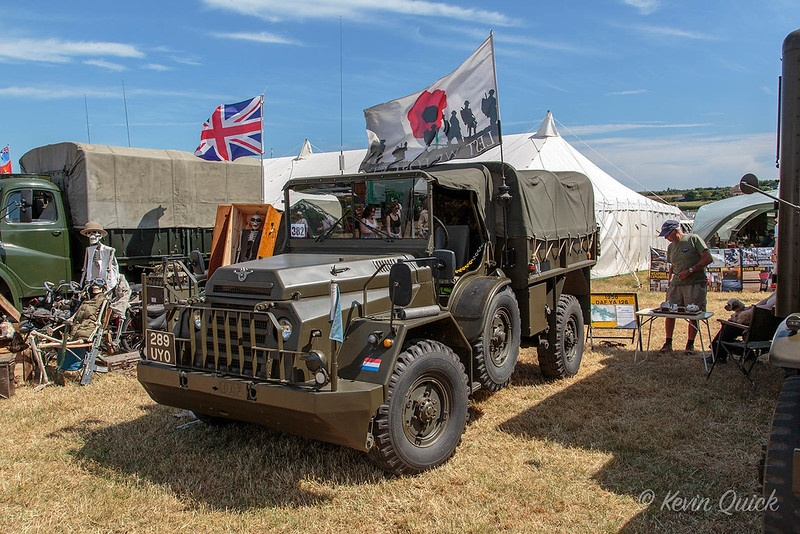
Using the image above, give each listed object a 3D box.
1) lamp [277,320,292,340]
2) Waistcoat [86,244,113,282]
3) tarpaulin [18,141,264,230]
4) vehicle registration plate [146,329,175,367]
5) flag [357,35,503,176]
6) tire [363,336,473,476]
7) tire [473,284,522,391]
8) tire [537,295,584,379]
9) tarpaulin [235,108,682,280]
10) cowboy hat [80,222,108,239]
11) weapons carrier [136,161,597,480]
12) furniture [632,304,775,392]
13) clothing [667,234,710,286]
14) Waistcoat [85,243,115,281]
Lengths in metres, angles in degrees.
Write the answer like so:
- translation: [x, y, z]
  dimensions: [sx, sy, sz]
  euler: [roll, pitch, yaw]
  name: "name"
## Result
- translation: [-1.256, 0.688, 7.478]
  dimensions: [0.141, 0.209, 0.081]
  euler: [-3, 3, -4]
  name: "lamp"
- translation: [-4.915, -0.061, 11.126]
  dimensions: [0.490, 0.785, 0.187]
  euler: [-2, -13, 0]
  name: "Waistcoat"
- translation: [-5.348, -1.579, 13.714]
  dimensions: [2.500, 2.626, 4.027]
  euler: [5, 4, 38]
  name: "tarpaulin"
- translation: [-2.851, 0.946, 8.084]
  dimensions: [0.484, 0.377, 0.056]
  euler: [4, 8, 29]
  name: "vehicle registration plate"
- translation: [0.719, -2.378, 11.149]
  dimensions: [0.295, 2.856, 3.478]
  euler: [-3, 1, -44]
  name: "flag"
- translation: [0.250, 1.636, 7.989]
  dimensions: [1.371, 1.514, 0.359]
  euler: [-6, 9, -44]
  name: "tire"
- translation: [1.369, 0.998, 9.217]
  dimensions: [0.290, 1.266, 1.088]
  euler: [-3, 1, 33]
  name: "tire"
- translation: [2.647, 1.136, 11.029]
  dimensions: [0.408, 1.369, 1.262]
  euler: [2, 12, 35]
  name: "tire"
- translation: [2.617, -2.930, 25.157]
  dimensions: [11.781, 4.530, 8.236]
  euler: [2, 4, 28]
  name: "tarpaulin"
- translation: [-5.025, -0.628, 11.192]
  dimensions: [0.311, 0.240, 0.335]
  euler: [-4, 8, -30]
  name: "cowboy hat"
- translation: [0.038, 0.398, 9.708]
  dimensions: [3.338, 3.331, 5.963]
  euler: [-1, -1, 36]
  name: "weapons carrier"
- translation: [4.976, 1.176, 10.919]
  dimensions: [1.044, 1.250, 2.044]
  euler: [0, 3, -37]
  name: "furniture"
- translation: [4.860, -0.136, 11.452]
  dimensions: [0.620, 0.860, 0.368]
  euler: [4, 7, 26]
  name: "clothing"
- translation: [-4.917, -0.073, 11.146]
  dimensions: [0.496, 0.765, 0.309]
  euler: [-3, -12, -1]
  name: "Waistcoat"
